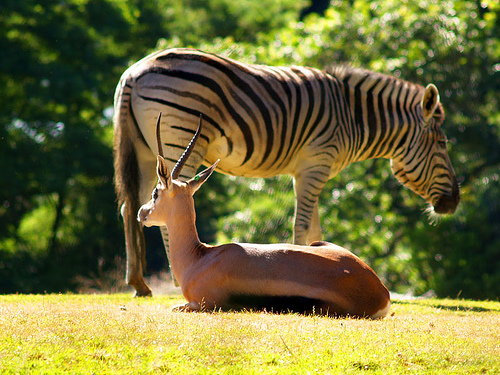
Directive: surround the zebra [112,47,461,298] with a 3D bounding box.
[{"bbox_3d":[0.896,-0.248,24.238,7.760,2.167,5.710,4,85,-15],"label":"zebra"}]
